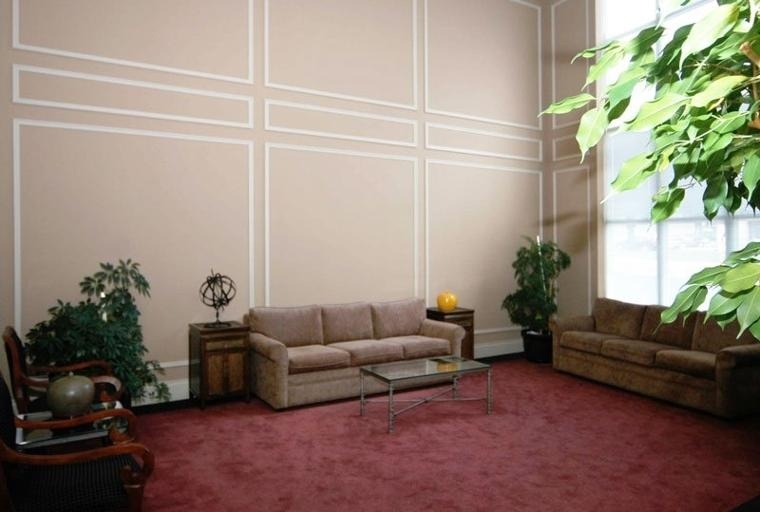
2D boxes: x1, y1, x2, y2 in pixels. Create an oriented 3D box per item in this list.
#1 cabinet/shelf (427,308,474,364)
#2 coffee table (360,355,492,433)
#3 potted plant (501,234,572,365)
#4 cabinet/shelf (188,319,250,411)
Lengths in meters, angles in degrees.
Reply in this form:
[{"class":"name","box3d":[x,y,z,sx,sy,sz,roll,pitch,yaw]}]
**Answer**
[{"class":"cabinet/shelf","box3d":[0.873,0.887,6.092,0.393,0.703,0.390,-5,18,-2]},{"class":"coffee table","box3d":[0.436,1.168,4.848,1.369,0.451,0.988,-3,7,-24]},{"class":"potted plant","box3d":[2.075,0.543,6.548,0.772,1.641,0.905,8,-7,-28]},{"class":"cabinet/shelf","box3d":[-1.511,0.994,4.865,0.483,0.712,0.539,3,3,42]}]
